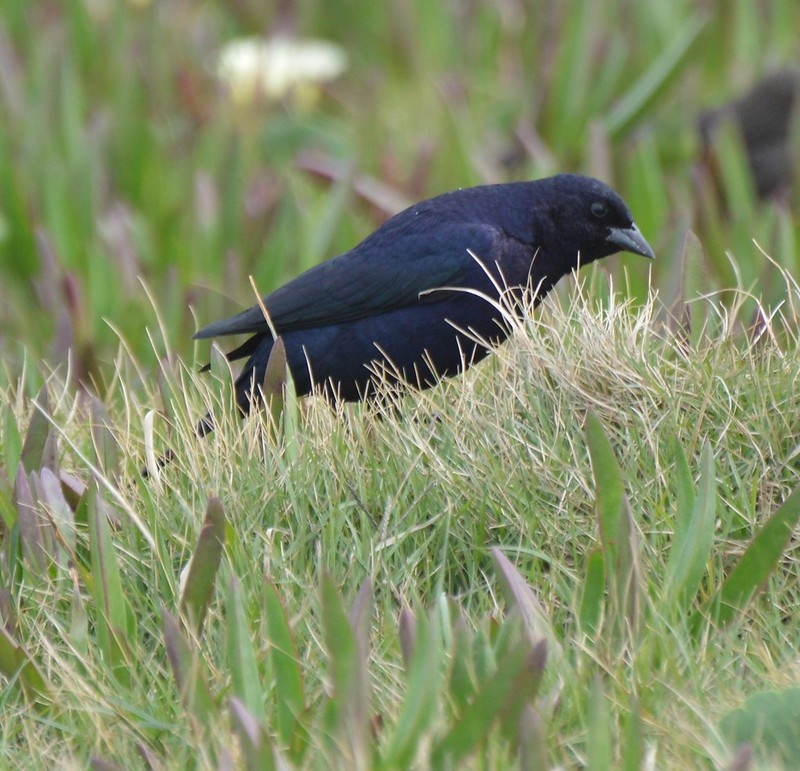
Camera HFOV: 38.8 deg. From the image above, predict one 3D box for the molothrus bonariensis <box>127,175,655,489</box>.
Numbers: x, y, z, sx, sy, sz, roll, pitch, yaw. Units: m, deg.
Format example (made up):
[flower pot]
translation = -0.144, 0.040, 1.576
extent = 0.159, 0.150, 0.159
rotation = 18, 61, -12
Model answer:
[molothrus bonariensis]
translation = -0.015, -0.167, 2.965
extent = 1.293, 0.697, 0.490
rotation = -1, -12, 20
